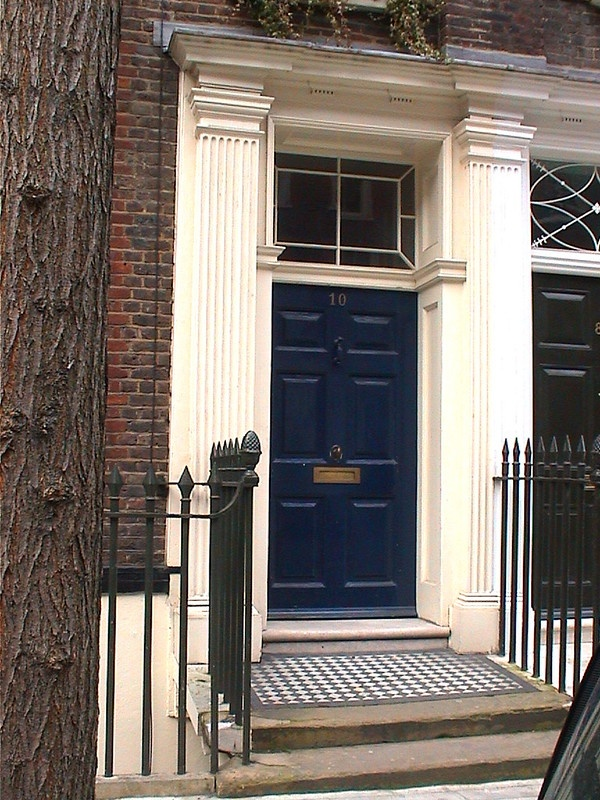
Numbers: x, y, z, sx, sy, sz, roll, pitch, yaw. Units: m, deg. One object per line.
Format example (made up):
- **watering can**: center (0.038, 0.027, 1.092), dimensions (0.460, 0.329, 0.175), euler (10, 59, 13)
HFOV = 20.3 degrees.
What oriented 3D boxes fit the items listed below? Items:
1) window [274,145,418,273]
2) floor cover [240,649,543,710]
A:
- **window**: center (0.222, -1.001, 8.952), dimensions (0.564, 0.472, 0.023), euler (5, -15, -25)
- **floor cover**: center (0.392, 1.306, 7.909), dimensions (1.318, 0.177, 0.911), euler (2, -4, -12)
